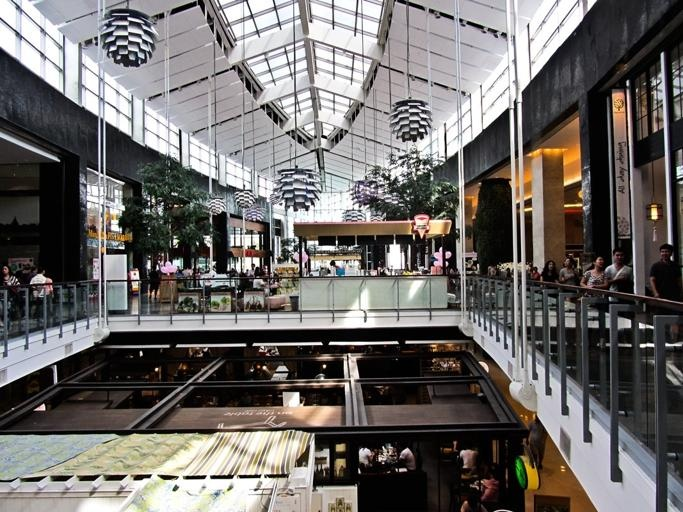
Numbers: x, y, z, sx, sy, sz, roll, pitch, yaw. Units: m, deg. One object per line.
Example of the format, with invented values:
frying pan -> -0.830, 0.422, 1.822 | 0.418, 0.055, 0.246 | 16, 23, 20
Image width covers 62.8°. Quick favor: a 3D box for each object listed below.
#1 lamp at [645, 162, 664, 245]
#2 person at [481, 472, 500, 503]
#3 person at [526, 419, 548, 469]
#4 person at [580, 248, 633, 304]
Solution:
lamp -> 6.545, -1.094, 11.646 | 0.323, 1.708, 0.523 | 3, 6, 30
person -> 2.930, 4.509, 11.043 | 0.327, 0.486, 0.790 | 1, 6, 13
person -> 4.576, 4.352, 13.092 | 0.406, 1.324, 0.351 | -1, 8, 22
person -> 4.240, 0.293, 8.862 | 0.609, 0.884, 0.405 | -3, -20, 16
